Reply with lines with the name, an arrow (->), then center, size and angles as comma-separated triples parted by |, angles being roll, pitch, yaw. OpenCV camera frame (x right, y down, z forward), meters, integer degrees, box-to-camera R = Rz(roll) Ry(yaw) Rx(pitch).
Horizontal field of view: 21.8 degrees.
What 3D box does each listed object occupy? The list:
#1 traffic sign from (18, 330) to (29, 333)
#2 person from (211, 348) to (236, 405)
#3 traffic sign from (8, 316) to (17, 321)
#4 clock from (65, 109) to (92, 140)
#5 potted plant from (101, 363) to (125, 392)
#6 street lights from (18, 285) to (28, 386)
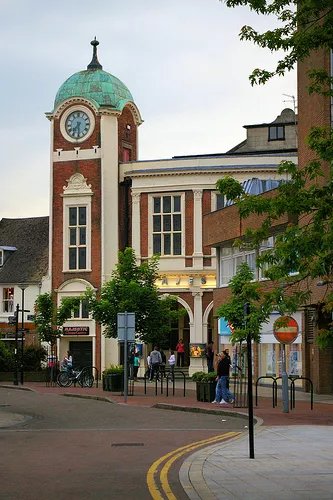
traffic sign -> -6.061, 3.415, 36.173 | 0.463, 0.136, 0.509 | 0, -4, 11
person -> 1.467, 3.415, 23.173 | 0.559, 1.426, 1.384 | -2, -7, 4
traffic sign -> -6.374, 2.878, 35.565 | 0.303, 0.215, 0.284 | 0, -7, -17
clock -> -4.749, -6.563, 45.551 | 1.554, 1.698, 0.341 | -7, -9, 35
potted plant -> -1.852, 4.344, 29.237 | 0.919, 0.990, 0.753 | 0, -7, -9
street lights -> -6.839, 4.137, 40.843 | 0.571, 4.484, 0.727 | 0, -5, -42
